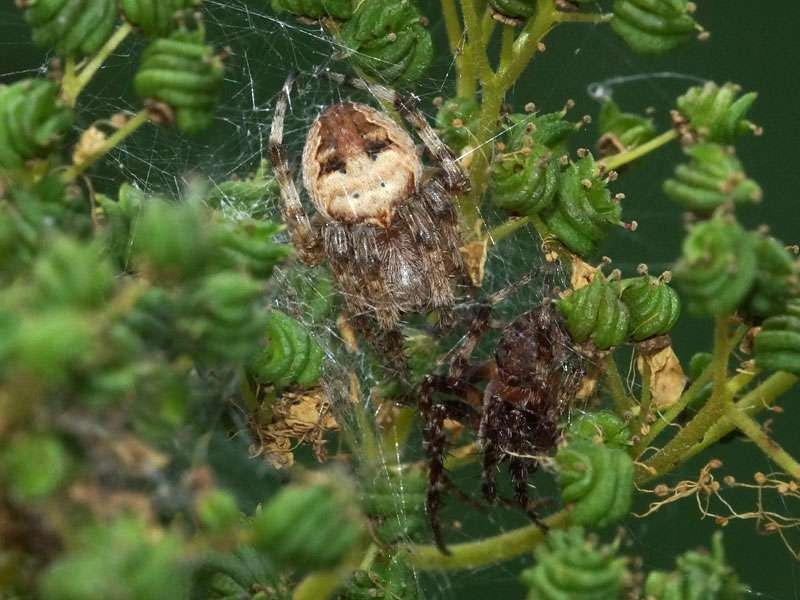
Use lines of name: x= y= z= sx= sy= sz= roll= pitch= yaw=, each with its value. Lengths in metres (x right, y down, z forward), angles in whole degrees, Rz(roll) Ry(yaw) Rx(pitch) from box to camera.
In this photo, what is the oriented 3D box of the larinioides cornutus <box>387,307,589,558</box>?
larinioides cornutus: x=0.219 y=0.254 z=2.337 sx=0.331 sy=0.190 sz=0.607 roll=2 pitch=83 yaw=32
